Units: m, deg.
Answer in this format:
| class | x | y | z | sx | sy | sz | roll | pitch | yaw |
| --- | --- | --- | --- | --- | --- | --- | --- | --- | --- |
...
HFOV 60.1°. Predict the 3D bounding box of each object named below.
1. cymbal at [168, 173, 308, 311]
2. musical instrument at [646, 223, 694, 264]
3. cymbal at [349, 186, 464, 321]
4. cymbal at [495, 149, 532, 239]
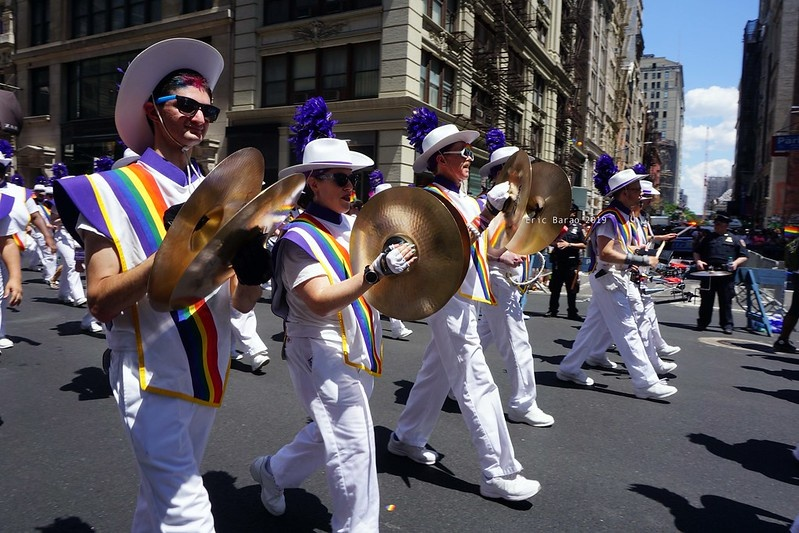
| class | x | y | z | sx | sy | sz | roll | pitch | yaw |
| --- | --- | --- | --- | --- | --- | --- | --- | --- | --- |
| cymbal | -1.186 | -0.205 | 5.216 | 0.311 | 1.022 | 1.018 | 13 | 13 | 42 |
| musical instrument | 10.620 | -0.981 | 27.249 | 2.844 | 1.211 | 1.428 | 0 | 6 | -35 |
| cymbal | 0.106 | -0.098 | 5.810 | 1.178 | 1.040 | 0.293 | 16 | 8 | 17 |
| cymbal | 1.198 | -0.739 | 7.422 | 0.341 | 1.025 | 0.664 | 10 | 11 | 30 |
